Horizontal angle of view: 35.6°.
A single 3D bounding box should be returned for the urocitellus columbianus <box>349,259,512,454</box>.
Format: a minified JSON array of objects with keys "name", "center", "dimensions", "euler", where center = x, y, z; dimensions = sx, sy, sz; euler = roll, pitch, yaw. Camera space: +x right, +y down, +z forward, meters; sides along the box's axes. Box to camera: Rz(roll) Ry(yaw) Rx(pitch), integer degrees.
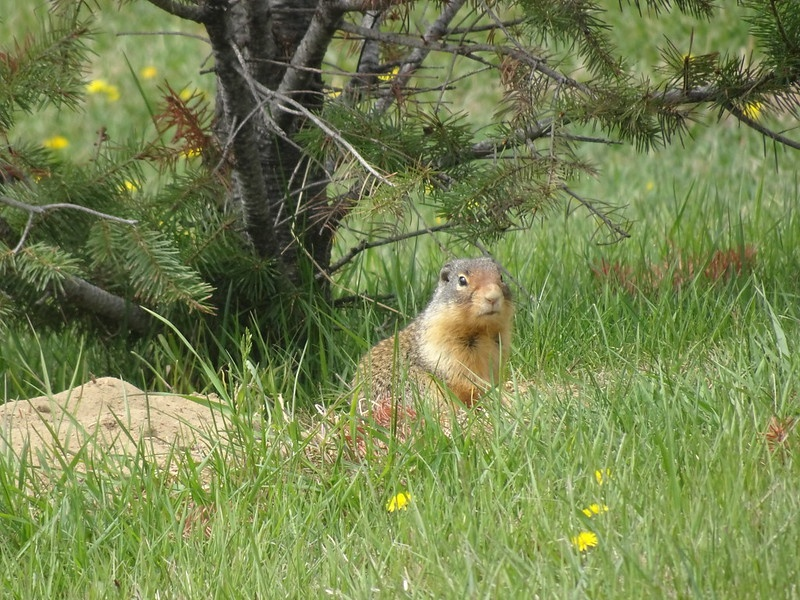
[{"name":"urocitellus columbianus","center":[0.166,0.249,6.813],"dimensions":[1.054,1.076,0.666],"euler":[-4,13,37]}]
